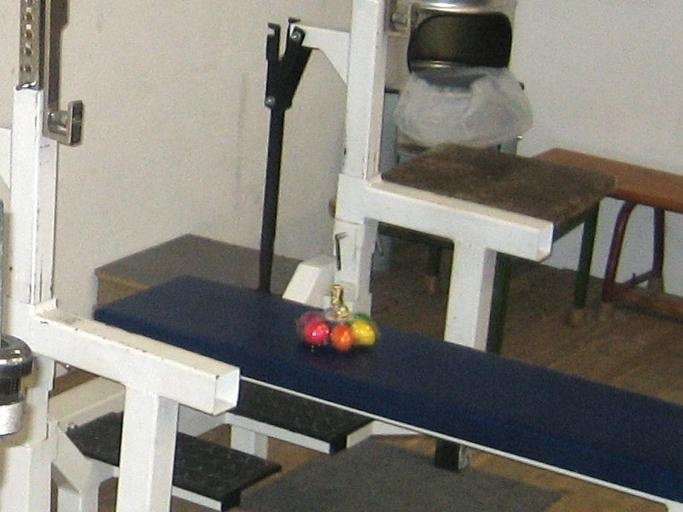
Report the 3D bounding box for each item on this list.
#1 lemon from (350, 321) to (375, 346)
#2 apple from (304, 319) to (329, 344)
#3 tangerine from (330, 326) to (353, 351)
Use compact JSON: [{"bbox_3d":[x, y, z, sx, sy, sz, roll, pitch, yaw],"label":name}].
[{"bbox_3d":[0.046,0.161,2.030,0.045,0.053,0.031,-10,-8,-3],"label":"lemon"},{"bbox_3d":[-0.053,0.161,2.014,0.049,0.047,0.044,-7,-28,-7],"label":"apple"},{"bbox_3d":[0.000,0.171,2.014,0.041,0.049,0.029,-10,-14,1],"label":"tangerine"}]
